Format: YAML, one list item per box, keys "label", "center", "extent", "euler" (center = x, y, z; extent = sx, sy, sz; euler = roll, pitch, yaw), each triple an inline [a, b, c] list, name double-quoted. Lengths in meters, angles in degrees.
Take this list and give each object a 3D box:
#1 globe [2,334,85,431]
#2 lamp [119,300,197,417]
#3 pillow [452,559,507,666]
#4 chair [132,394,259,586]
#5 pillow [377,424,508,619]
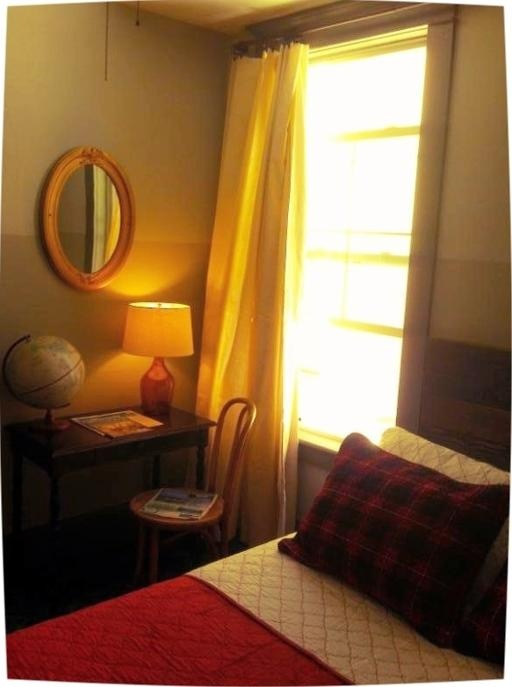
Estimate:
- label: "globe"
  center: [-0.761, 0.087, 1.995]
  extent: [0.286, 0.471, 0.270]
  euler: [-4, 17, -27]
- label: "lamp"
  center: [-0.450, 0.065, 2.441]
  extent: [0.282, 0.510, 0.306]
  euler: [4, 10, -1]
- label: "pillow"
  center: [0.500, 0.569, 1.125]
  extent: [0.147, 0.133, 0.095]
  euler: [0, 2, -42]
- label: "chair"
  center: [-0.253, 0.595, 2.074]
  extent: [0.421, 0.773, 0.362]
  euler: [2, 5, -33]
- label: "pillow"
  center: [0.511, 0.462, 1.423]
  extent: [0.093, 0.309, 0.308]
  euler: [37, -10, -23]
